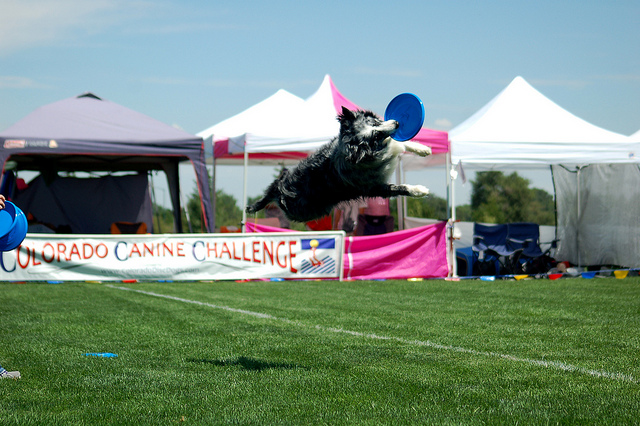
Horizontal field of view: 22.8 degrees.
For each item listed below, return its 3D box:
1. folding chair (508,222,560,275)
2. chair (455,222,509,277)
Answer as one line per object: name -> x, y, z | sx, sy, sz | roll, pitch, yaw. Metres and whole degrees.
folding chair -> 4.982, 0.765, 36.642 | 1.142, 1.445, 1.066 | -2, 1, -29
chair -> 3.759, 0.862, 36.662 | 0.959, 1.372, 1.412 | 1, -8, -24
